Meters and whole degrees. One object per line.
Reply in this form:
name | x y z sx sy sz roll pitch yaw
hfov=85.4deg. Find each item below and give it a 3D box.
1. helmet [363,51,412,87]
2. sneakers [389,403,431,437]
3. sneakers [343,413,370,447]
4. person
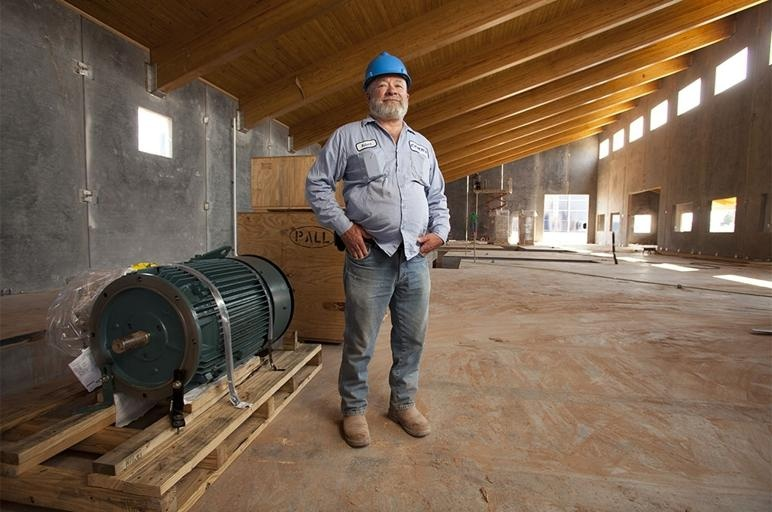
helmet | 0.004 -1.480 3.362 0.351 0.240 0.456 -6 2 8
sneakers | 0.180 1.282 3.364 0.179 0.194 0.420 -3 12 -38
sneakers | -0.229 1.330 3.246 0.224 0.170 0.283 -1 8 -7
person | -0.027 -0.072 3.254 1.100 2.935 0.624 -2 9 -10
